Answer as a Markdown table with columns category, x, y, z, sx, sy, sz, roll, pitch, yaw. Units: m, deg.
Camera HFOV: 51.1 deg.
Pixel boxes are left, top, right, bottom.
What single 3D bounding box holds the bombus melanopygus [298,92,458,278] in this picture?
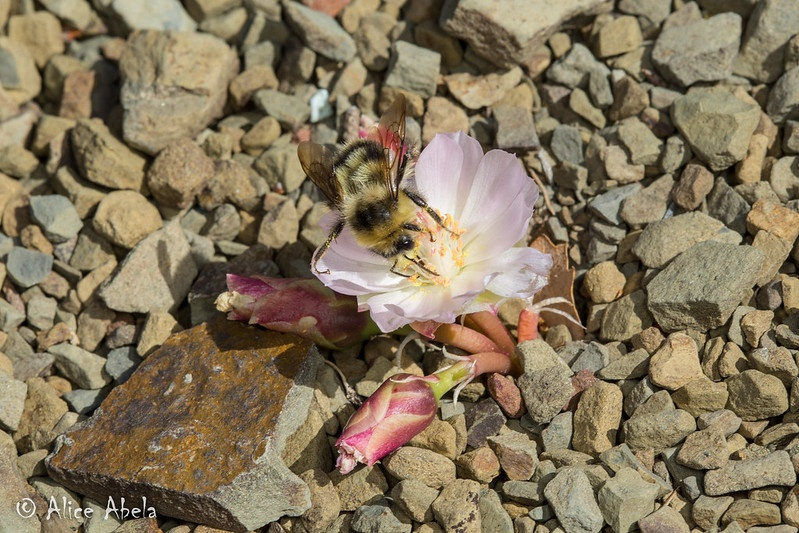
| category | x | y | z | sx | sy | sz | roll | pitch | yaw |
| --- | --- | --- | --- | --- | --- | --- | --- | --- | --- |
| bombus melanopygus | -0.147 | -0.393 | 5.143 | 0.788 | 1.049 | 0.800 | -4 | 25 | 1 |

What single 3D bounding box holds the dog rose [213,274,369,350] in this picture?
| category | x | y | z | sx | sy | sz | roll | pitch | yaw |
| --- | --- | --- | --- | --- | --- | --- | --- | --- | --- |
| dog rose | -0.658 | 0.273 | 5.327 | 0.973 | 0.444 | 0.411 | 10 | -45 | 0 |
